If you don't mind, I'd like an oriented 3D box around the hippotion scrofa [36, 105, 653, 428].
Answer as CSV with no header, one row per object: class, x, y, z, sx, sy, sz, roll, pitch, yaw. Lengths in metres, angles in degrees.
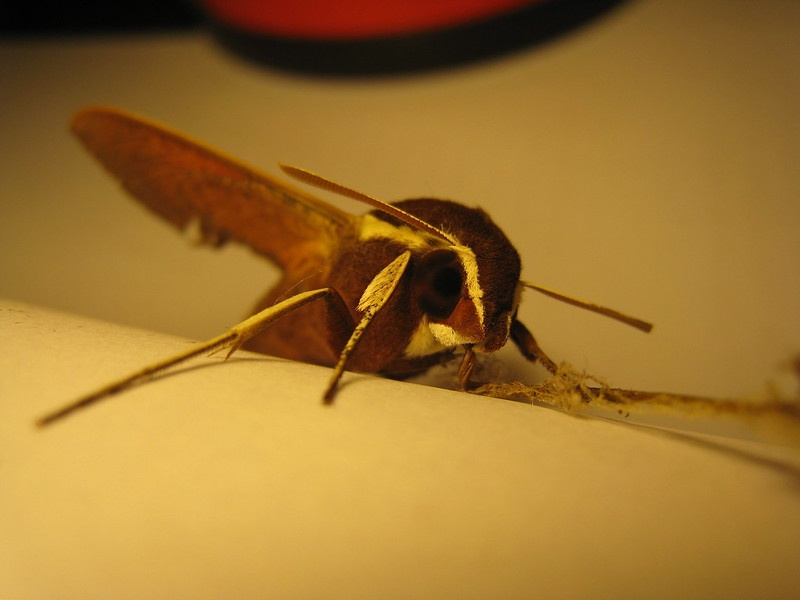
hippotion scrofa,-0.111,-0.017,1.256,0.794,0.461,0.292,7,-6,-10
